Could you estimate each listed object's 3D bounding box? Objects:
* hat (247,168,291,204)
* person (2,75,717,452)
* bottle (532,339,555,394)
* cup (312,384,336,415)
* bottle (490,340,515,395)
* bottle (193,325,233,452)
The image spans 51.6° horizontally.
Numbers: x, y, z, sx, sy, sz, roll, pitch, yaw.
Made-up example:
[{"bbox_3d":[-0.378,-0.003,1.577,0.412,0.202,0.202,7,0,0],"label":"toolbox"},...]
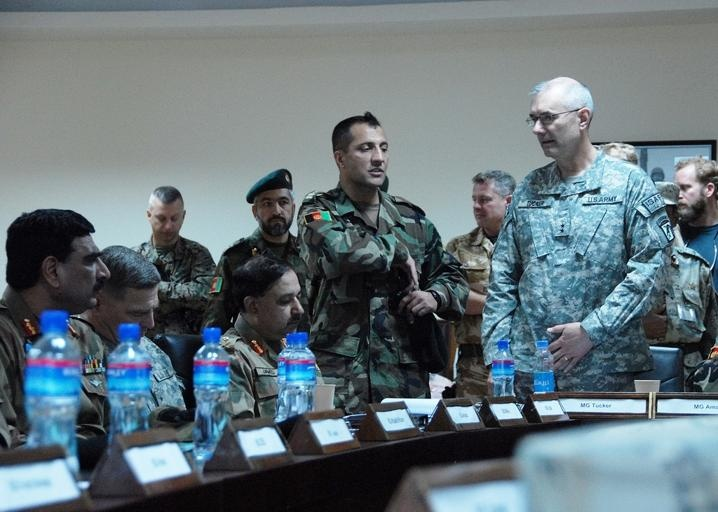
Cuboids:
[{"bbox_3d":[-0.630,-0.446,4.981,0.264,0.107,0.239,-19,-6,30],"label":"hat"},{"bbox_3d":[0.517,-0.050,3.101,1.465,1.292,0.591,-2,7,25],"label":"person"},{"bbox_3d":[0.692,0.424,2.784,0.080,0.231,0.328,-4,6,15],"label":"bottle"},{"bbox_3d":[-0.103,0.427,2.214,0.079,0.095,0.084,-1,-4,0],"label":"cup"},{"bbox_3d":[0.556,0.424,2.868,0.093,0.253,0.268,-4,6,10],"label":"bottle"},{"bbox_3d":[-0.388,0.333,1.908,0.107,0.322,0.221,-7,7,-15],"label":"bottle"}]
